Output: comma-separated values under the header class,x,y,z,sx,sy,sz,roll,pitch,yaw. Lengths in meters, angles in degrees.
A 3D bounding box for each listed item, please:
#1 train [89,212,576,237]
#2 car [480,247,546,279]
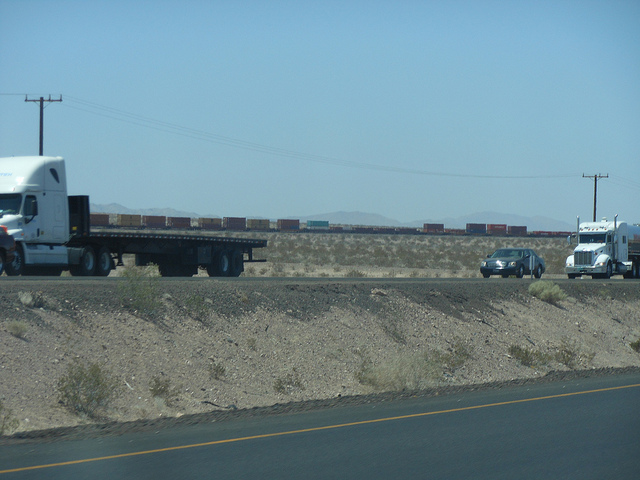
class,x,y,z,sx,sy,sz,roll,pitch,yaw
train,10.755,-4.236,258.820,219.876,4.717,16.454,0,-1,-8
car,11.419,1.392,54.944,2.368,1.977,5.454,-2,-4,33
